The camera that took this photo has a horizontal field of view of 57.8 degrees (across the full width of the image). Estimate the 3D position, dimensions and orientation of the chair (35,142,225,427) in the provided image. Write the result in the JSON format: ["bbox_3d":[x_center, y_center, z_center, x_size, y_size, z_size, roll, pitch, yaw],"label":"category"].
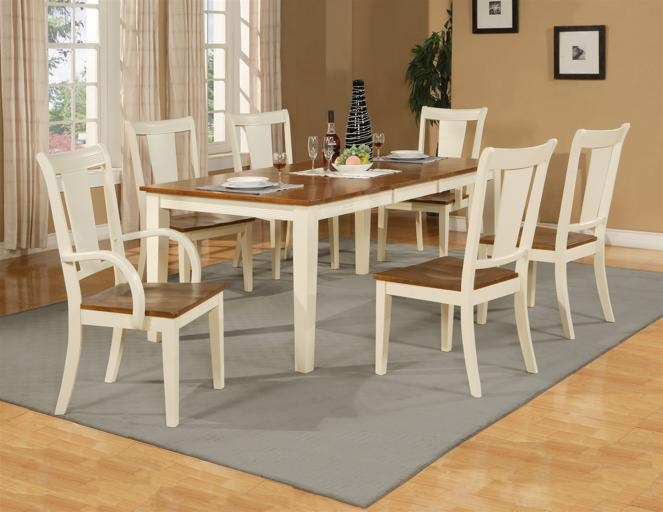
[{"bbox_3d":[-0.789,0.100,2.506,0.741,0.957,0.679,10,12,26],"label":"chair"}]

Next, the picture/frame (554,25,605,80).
[{"bbox_3d":[2.235,-1.835,5.358,0.548,0.523,0.038,5,11,34],"label":"picture/frame"}]

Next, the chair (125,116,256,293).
[{"bbox_3d":[-0.944,-0.374,3.899,0.643,0.980,0.579,27,29,34],"label":"chair"}]

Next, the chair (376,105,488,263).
[{"bbox_3d":[0.783,-0.585,4.746,0.632,1.097,0.841,9,22,32],"label":"chair"}]
